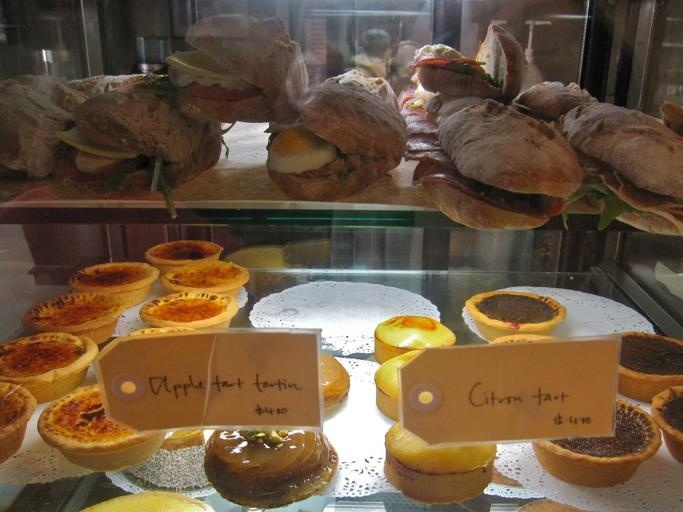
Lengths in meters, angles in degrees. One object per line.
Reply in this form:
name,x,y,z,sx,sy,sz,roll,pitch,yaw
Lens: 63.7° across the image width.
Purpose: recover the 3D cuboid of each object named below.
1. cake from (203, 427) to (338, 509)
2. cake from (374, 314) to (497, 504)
cake,-0.136,0.396,1.032,0.202,0.052,0.192,-13,22,-38
cake,0.179,0.296,1.150,0.245,0.118,0.363,-2,33,-2
